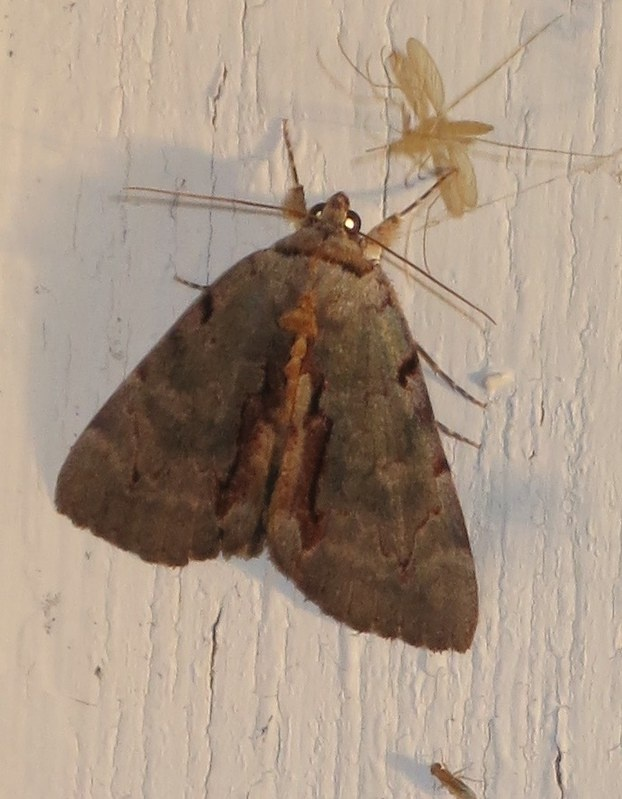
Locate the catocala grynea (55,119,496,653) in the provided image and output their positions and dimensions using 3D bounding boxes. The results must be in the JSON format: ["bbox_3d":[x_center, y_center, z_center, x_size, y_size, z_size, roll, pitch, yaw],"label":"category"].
[{"bbox_3d":[-0.030,0.071,5.470,1.023,0.350,1.663,11,93,8],"label":"catocala grynea"}]

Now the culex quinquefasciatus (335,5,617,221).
[{"bbox_3d":[0.453,-0.925,5.444,0.565,0.194,0.762,-11,90,5],"label":"culex quinquefasciatus"}]
